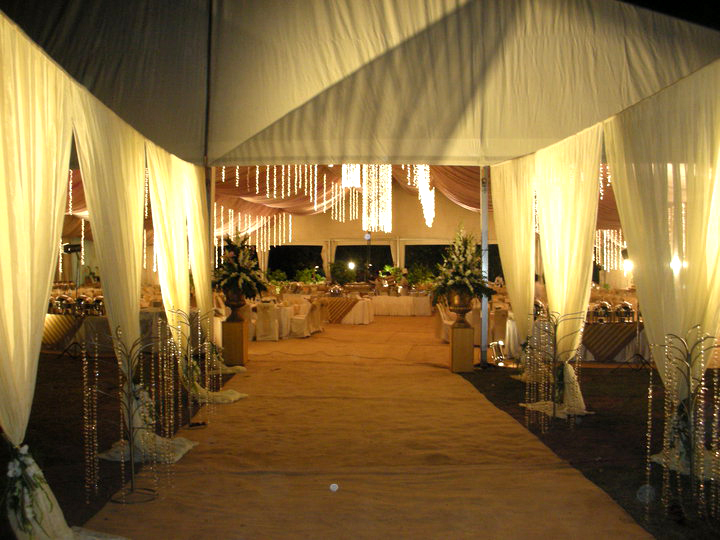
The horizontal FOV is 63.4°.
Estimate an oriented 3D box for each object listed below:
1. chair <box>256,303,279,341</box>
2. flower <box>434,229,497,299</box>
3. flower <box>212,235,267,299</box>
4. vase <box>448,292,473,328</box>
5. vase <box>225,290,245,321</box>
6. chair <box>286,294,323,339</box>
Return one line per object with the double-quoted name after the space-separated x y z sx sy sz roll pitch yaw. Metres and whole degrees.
-1.992 1.086 12.431 0.491 0.825 0.610 -1 -1 7 "chair"
1.658 -0.046 9.752 0.926 1.140 0.989 1 -6 -2 "flower"
-1.991 0.003 9.773 0.807 1.077 0.766 16 -16 -32 "flower"
1.598 0.656 9.433 0.446 0.631 0.474 0 -7 -2 "vase"
-2.046 0.566 9.559 0.303 0.527 0.296 -1 3 -16 "vase"
-1.229 1.012 13.523 0.643 1.001 0.682 6 13 17 "chair"
